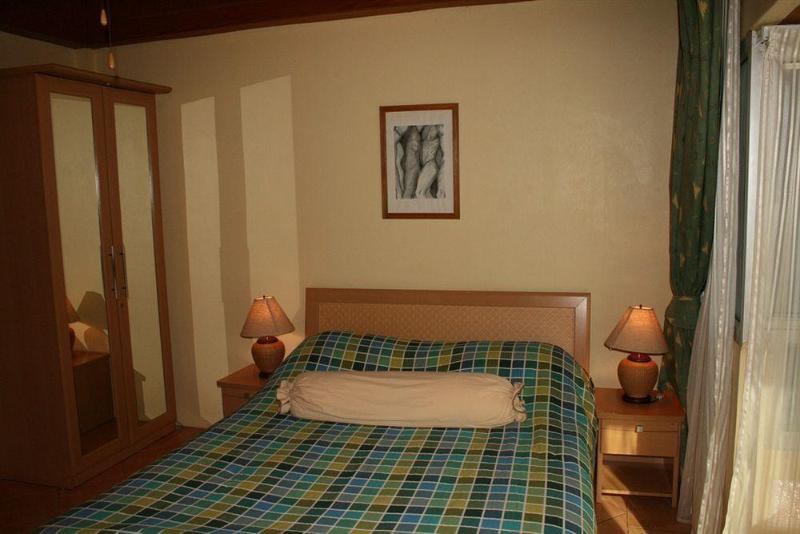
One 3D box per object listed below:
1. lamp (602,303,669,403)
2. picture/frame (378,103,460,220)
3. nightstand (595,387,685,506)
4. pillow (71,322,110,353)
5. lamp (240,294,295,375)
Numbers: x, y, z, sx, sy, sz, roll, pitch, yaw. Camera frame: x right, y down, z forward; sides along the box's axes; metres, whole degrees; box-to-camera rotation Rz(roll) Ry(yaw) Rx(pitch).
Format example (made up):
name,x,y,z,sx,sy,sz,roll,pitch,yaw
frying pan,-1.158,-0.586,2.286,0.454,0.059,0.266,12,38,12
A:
name,x,y,z,sx,sy,sz,roll,pitch,yaw
lamp,1.679,0.612,4.369,0.439,0.627,0.464,3,-1,-12
picture/frame,0.173,-0.831,4.732,0.854,1.189,0.047,-1,5,10
nightstand,1.691,1.278,4.440,0.587,0.636,0.545,1,6,15
pillow,-2.358,0.540,4.722,0.057,0.210,0.211,-23,-28,32
lamp,-1.045,0.534,4.882,0.405,0.599,0.399,2,7,30
